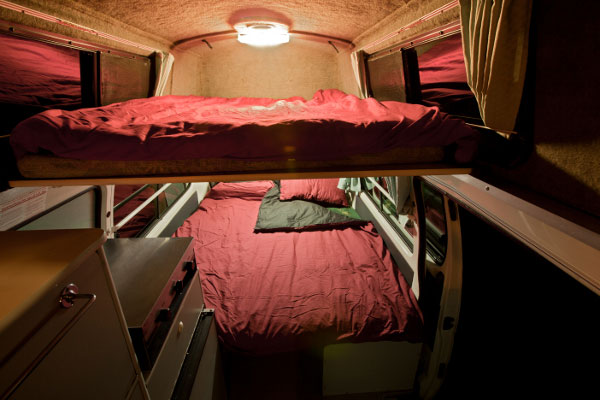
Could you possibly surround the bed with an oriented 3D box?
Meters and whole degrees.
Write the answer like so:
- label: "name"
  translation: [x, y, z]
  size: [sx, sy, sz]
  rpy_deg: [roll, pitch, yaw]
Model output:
- label: "bed"
  translation: [-0.341, 0.379, 3.035]
  size: [2.446, 0.597, 2.330]
  rpy_deg: [-2, 27, -7]
